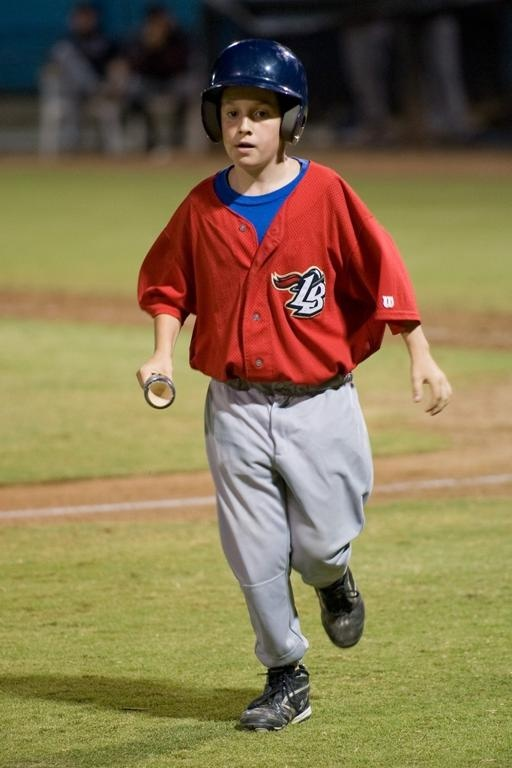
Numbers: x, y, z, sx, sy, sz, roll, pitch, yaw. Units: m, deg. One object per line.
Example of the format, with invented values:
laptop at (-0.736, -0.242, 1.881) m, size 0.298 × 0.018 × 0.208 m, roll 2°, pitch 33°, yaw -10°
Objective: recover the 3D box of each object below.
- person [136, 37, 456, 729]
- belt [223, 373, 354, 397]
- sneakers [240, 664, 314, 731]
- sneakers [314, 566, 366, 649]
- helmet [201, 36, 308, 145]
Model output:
person at (0.049, 0.004, 1.853) m, size 0.664 × 1.331 × 0.374 m, roll 3°, pitch 15°, yaw 13°
belt at (0.080, 0.002, 1.830) m, size 0.262 × 0.039 × 0.085 m, roll -3°, pitch 12°, yaw -16°
sneakers at (0.056, 0.632, 1.927) m, size 0.073 × 0.075 × 0.180 m, roll -3°, pitch -3°, yaw 29°
sneakers at (0.160, 0.465, 2.058) m, size 0.080 × 0.084 × 0.205 m, roll -21°, pitch 39°, yaw 5°
helmet at (0.014, -0.564, 1.854) m, size 0.228 × 0.176 × 0.230 m, roll 1°, pitch 7°, yaw 13°
